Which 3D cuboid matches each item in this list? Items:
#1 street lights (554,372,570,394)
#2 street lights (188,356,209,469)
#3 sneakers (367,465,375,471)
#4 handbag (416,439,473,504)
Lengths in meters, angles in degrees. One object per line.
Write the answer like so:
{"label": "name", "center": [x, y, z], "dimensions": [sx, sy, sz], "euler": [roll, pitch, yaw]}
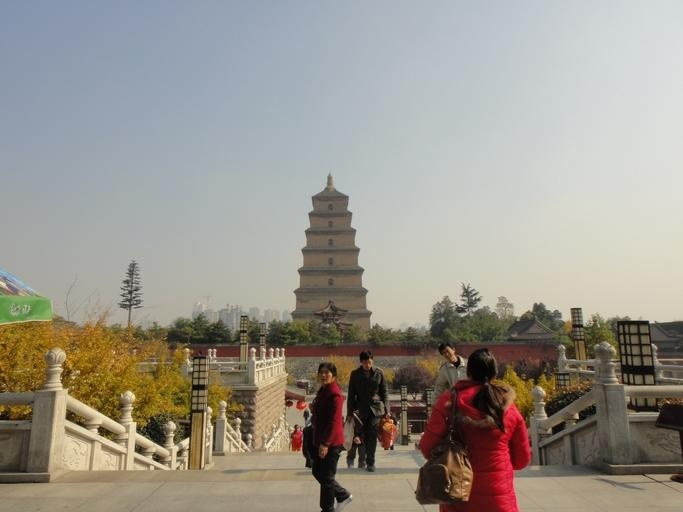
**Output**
{"label": "street lights", "center": [7.311, 4.118, 18.364], "dimensions": [0.499, 0.536, 1.906], "euler": [-8, -16, 19]}
{"label": "street lights", "center": [-2.887, 3.134, 11.248], "dimensions": [0.308, 2.239, 0.829], "euler": [2, -18, -14]}
{"label": "sneakers", "center": [0.451, 3.257, 8.490], "dimensions": [0.143, 0.096, 0.181], "euler": [-2, -15, 1]}
{"label": "handbag", "center": [0.997, 2.055, 5.246], "dimensions": [0.653, 0.590, 0.323], "euler": [-2, -35, 11]}
